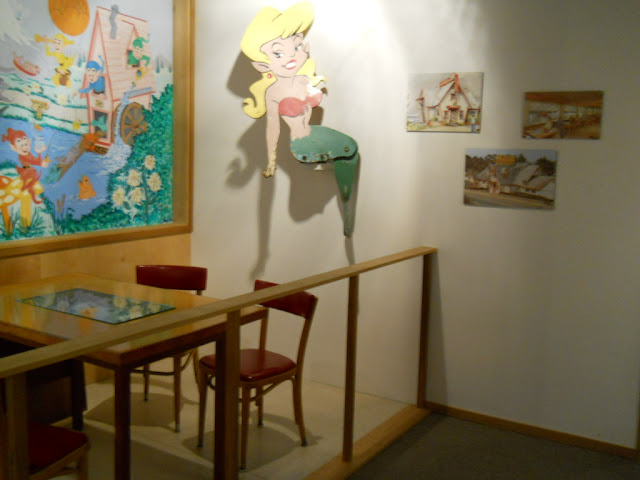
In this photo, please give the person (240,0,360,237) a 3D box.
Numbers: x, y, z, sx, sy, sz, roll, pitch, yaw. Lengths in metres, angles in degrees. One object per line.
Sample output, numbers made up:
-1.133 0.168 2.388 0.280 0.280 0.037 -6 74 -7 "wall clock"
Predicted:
-0.129 -0.786 3.450 0.791 1.529 0.298 2 9 5 "person"
